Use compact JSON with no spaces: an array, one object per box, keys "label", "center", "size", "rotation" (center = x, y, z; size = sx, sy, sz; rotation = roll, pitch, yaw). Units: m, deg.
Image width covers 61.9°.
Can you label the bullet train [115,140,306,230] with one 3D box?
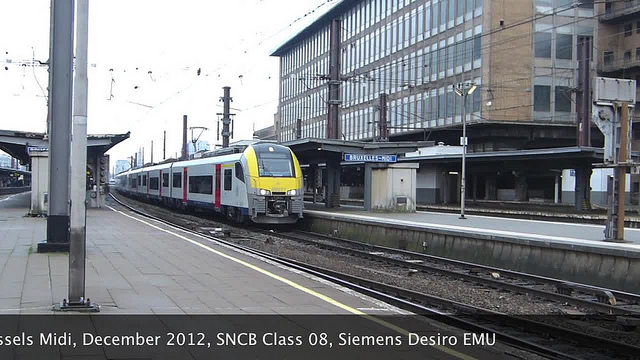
[{"label":"bullet train","center":[-12.159,-0.852,53.387],"size":[14.648,7.036,52.382],"rotation":[-2,2,-20]}]
